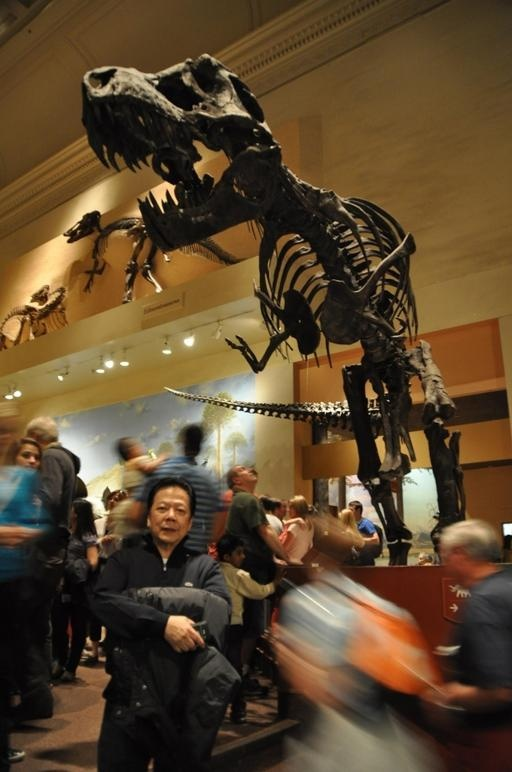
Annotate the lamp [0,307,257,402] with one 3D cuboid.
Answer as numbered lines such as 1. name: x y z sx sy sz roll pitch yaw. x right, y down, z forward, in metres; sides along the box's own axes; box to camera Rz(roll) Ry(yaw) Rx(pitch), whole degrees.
1. lamp: -1.904 -0.443 9.076 5.615 0.345 1.262 -8 -14 37
